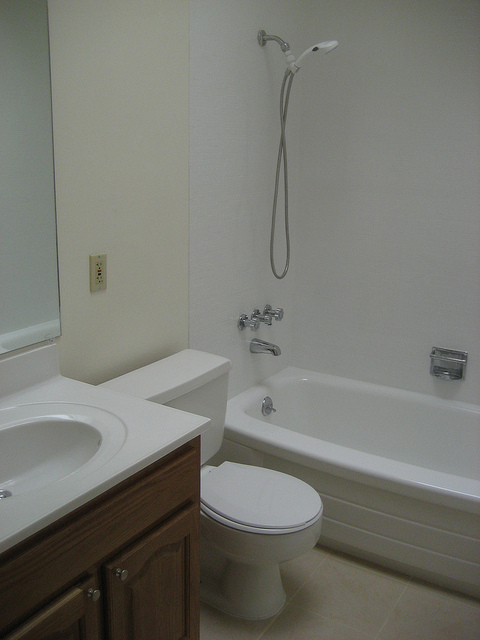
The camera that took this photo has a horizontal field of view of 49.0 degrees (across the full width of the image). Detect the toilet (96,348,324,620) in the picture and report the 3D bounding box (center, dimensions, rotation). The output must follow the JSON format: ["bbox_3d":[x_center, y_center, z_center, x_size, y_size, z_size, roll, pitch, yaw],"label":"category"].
[{"bbox_3d":[-0.032,0.551,1.656,0.608,0.720,0.498,5,18,13],"label":"toilet"}]
